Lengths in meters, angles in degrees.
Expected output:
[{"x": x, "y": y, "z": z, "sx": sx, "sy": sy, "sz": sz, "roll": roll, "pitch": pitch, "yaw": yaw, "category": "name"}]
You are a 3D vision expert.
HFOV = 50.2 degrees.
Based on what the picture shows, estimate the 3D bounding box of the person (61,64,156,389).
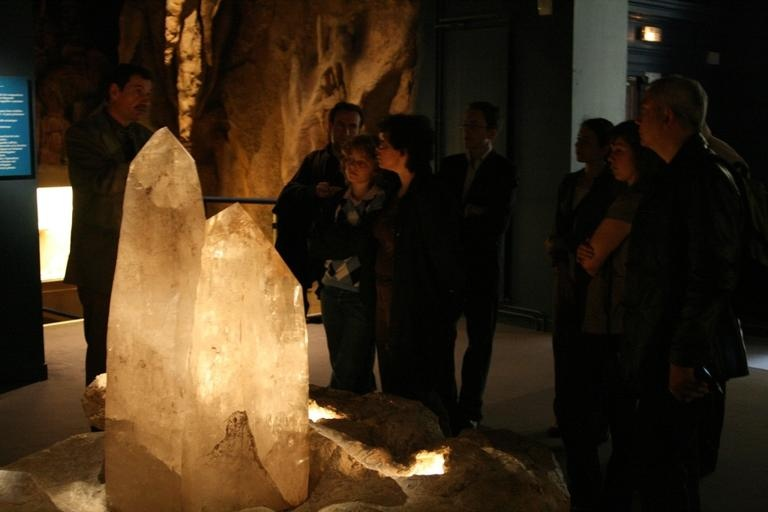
[{"x": -1.950, "y": -0.209, "z": 5.785, "sx": 0.557, "sy": 2.259, "sz": 0.410, "roll": 1, "pitch": 8, "yaw": -17, "category": "person"}]

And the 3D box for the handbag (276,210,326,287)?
[{"x": -0.601, "y": -0.072, "z": 5.533, "sx": 0.494, "sy": 0.453, "sz": 0.127, "roll": 16, "pitch": 4, "yaw": 32, "category": "handbag"}]
